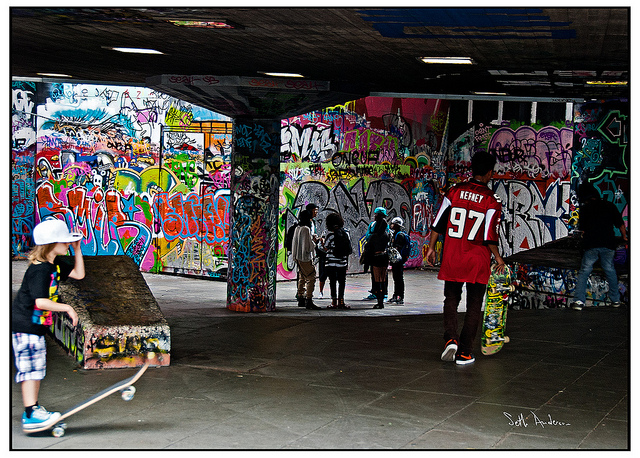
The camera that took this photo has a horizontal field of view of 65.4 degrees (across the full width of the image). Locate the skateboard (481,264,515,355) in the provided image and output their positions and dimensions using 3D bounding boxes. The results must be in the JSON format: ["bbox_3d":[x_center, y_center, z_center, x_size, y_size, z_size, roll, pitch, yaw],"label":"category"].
[{"bbox_3d":[2.744,1.250,7.728,0.460,1.444,0.450,2,4,1],"label":"skateboard"}]

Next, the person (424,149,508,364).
[{"bbox_3d":[2.129,0.429,7.303,0.998,3.107,0.606,3,4,14],"label":"person"}]

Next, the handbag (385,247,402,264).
[{"bbox_3d":[1.961,0.719,13.486,0.305,0.410,0.162,-43,12,-27],"label":"handbag"}]

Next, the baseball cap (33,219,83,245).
[{"bbox_3d":[-2.506,0.035,4.749,0.349,0.121,0.231,-3,9,-17],"label":"baseball cap"}]

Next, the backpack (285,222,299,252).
[{"bbox_3d":[-0.748,0.225,12.989,0.327,0.781,0.582,2,4,-5],"label":"backpack"}]

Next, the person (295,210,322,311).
[{"bbox_3d":[-0.348,0.786,12.765,0.603,2.525,1.107,2,4,-2],"label":"person"}]

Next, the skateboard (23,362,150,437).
[{"bbox_3d":[-2.486,1.829,5.295,1.076,0.189,0.248,-30,5,-9],"label":"skateboard"}]

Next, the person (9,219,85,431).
[{"bbox_3d":[-2.624,0.915,4.781,0.595,2.003,0.641,0,4,-29],"label":"person"}]
